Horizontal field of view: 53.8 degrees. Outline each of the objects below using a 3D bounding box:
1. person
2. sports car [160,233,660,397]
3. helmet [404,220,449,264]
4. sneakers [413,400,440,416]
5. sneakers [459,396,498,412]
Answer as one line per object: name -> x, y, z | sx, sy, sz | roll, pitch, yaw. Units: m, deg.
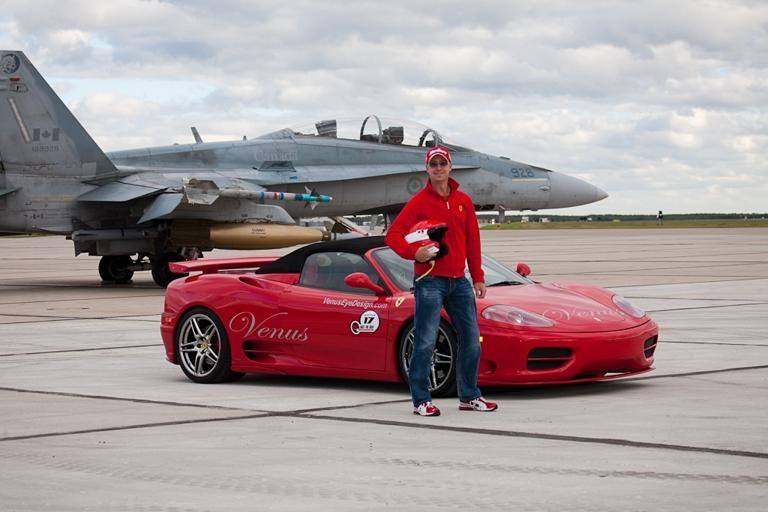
person -> 0.488, 0.208, 6.886 | 0.883, 2.403, 0.967 | -4, 9, 3
sports car -> 0.038, 0.635, 8.080 | 5.202, 0.765, 2.075 | -1, -1, 19
helmet -> 0.370, -0.136, 6.711 | 0.365, 0.342, 0.267 | -4, 7, -7
sneakers -> 0.381, 1.344, 6.674 | 0.287, 0.074, 0.123 | -4, -4, 41
sneakers -> 0.827, 1.332, 6.842 | 0.436, 0.090, 0.122 | -1, -1, 11
